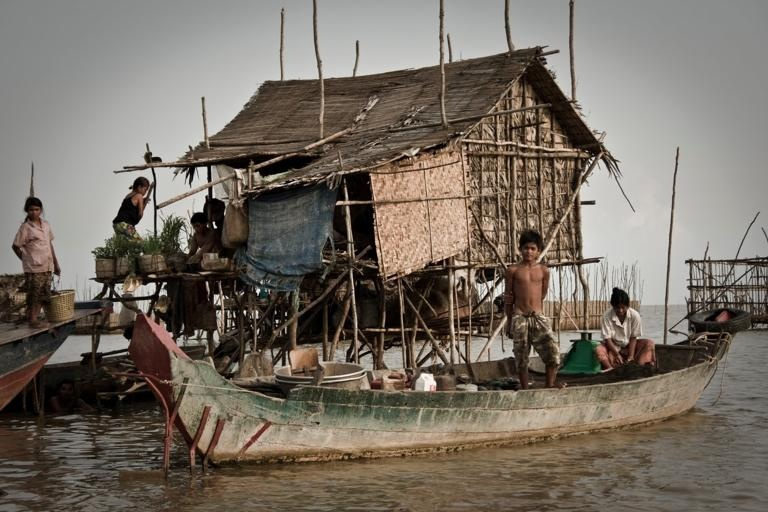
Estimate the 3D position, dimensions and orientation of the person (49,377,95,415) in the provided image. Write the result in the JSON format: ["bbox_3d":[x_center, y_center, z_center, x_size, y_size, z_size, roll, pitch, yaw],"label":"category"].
[{"bbox_3d":[-5.694,2.602,22.899,0.448,0.484,0.796,-1,-7,-42],"label":"person"}]

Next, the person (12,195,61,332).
[{"bbox_3d":[-5.802,0.115,20.795,0.423,2.156,0.816,0,0,33],"label":"person"}]

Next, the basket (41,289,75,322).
[{"bbox_3d":[-5.477,0.847,21.052,0.550,0.463,0.572,1,-2,-6],"label":"basket"}]

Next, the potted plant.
[{"bbox_3d":[-4.142,-0.048,21.608,1.249,0.887,0.895,-4,-9,-11],"label":"potted plant"}]

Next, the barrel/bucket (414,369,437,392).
[{"bbox_3d":[0.621,2.027,19.901,0.230,0.319,0.442,-1,-4,30],"label":"barrel/bucket"}]
